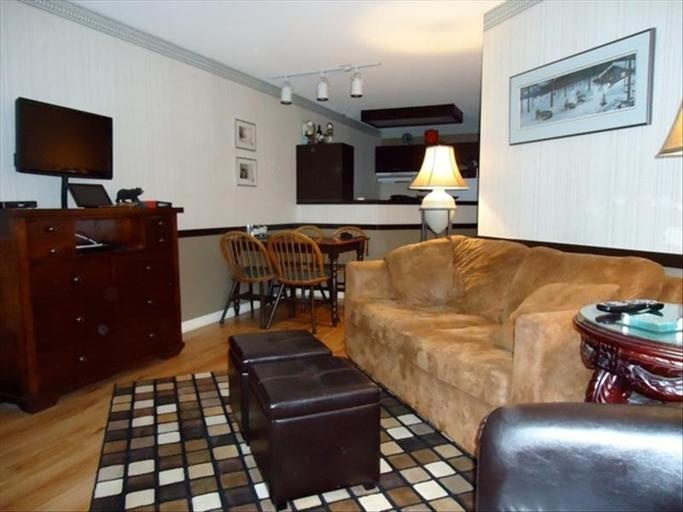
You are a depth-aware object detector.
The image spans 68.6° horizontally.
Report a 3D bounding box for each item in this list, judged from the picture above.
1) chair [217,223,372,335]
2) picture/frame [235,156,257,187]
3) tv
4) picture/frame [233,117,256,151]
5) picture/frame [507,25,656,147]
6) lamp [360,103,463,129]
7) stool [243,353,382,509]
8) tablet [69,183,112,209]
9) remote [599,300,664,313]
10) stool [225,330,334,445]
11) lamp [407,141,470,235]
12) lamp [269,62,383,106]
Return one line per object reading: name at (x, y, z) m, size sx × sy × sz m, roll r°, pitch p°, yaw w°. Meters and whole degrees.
chair at (-0.527, 0.079, 5.065) m, size 1.329 × 0.941 × 1.025 m, roll 4°, pitch 11°, yaw 23°
picture/frame at (-1.065, -0.930, 5.484) m, size 0.025 × 0.280 × 0.378 m, roll -1°, pitch 0°, yaw 20°
tv at (-1.973, -0.816, 3.508) m, size 0.090 × 0.461 × 0.657 m, roll 5°, pitch 5°, yaw 30°
picture/frame at (-1.069, -1.329, 5.434) m, size 0.028 × 0.317 × 0.424 m, roll 0°, pitch 1°, yaw 22°
picture/frame at (1.483, -1.031, 3.180) m, size 0.074 × 0.593 × 1.046 m, roll -6°, pitch 13°, yaw -24°
lamp at (1.080, -2.127, 7.604) m, size 1.434 × 0.257 × 0.845 m, roll 4°, pitch 12°, yaw 19°
stool at (-0.150, 0.772, 2.513) m, size 0.582 × 0.486 × 0.629 m, roll -2°, pitch 4°, yaw -23°
tablet at (-1.876, -0.460, 3.726) m, size 0.236 × 0.172 × 0.317 m, roll -3°, pitch 12°, yaw -12°
remote at (1.189, 0.209, 2.066) m, size 0.171 × 0.029 × 0.100 m, roll -1°, pitch -4°, yaw 1°
stool at (-0.388, 0.720, 2.999) m, size 0.549 × 0.516 × 0.543 m, roll -2°, pitch 5°, yaw -19°
lamp at (0.821, -0.522, 4.214) m, size 0.451 × 0.819 × 0.830 m, roll 3°, pitch 13°, yaw 14°
lamp at (-0.167, -1.849, 5.441) m, size 1.256 × 0.377 × 0.740 m, roll 4°, pitch 12°, yaw 17°
